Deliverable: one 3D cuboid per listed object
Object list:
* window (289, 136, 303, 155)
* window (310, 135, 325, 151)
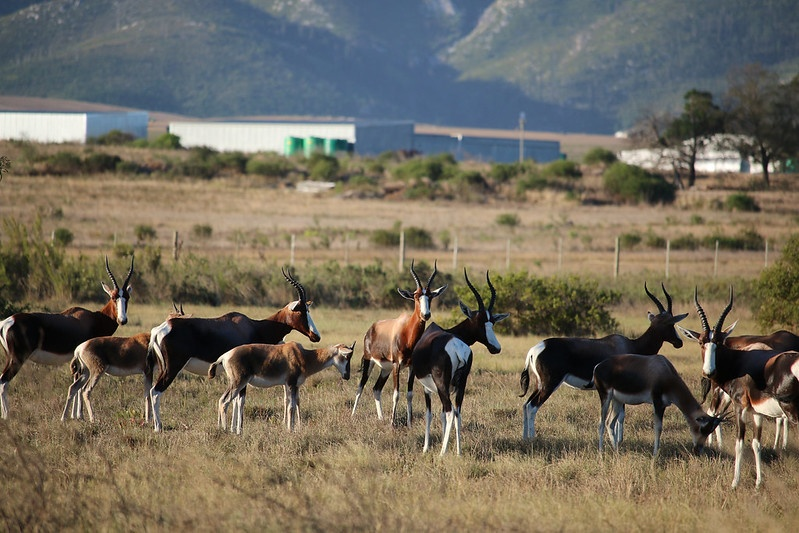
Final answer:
[{"bbox_3d":[-13.936,-15.958,240.617,2.079,2.626,1.996,7,10,40],"label":"window"},{"bbox_3d":[-11.348,-16.247,239.566,1.652,2.070,1.890,-1,-4,2],"label":"window"}]
